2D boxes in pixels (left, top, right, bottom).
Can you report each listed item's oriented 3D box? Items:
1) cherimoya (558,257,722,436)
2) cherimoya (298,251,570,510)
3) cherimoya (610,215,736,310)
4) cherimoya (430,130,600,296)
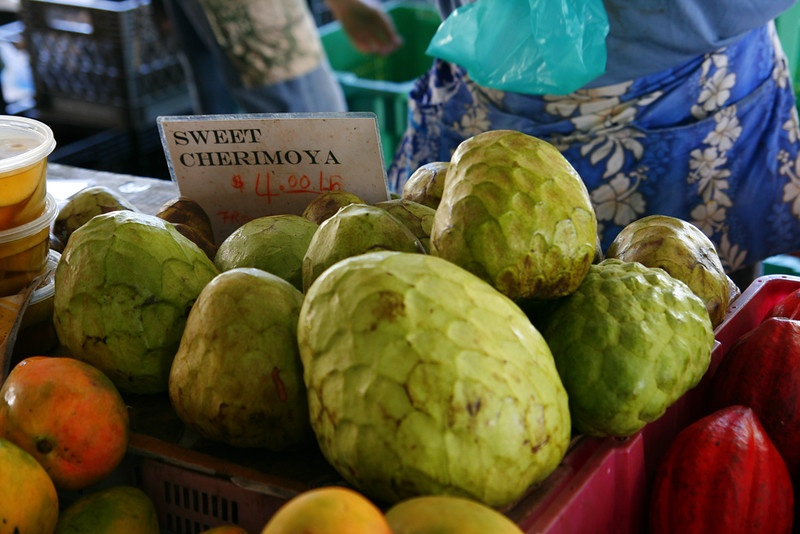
[{"bbox_3d":[0.404,0.141,1.355,0.293,0.267,0.238,-31,-18,22],"label":"cherimoya"},{"bbox_3d":[0.019,0.149,1.269,0.332,0.358,0.448,-15,30,-25],"label":"cherimoya"},{"bbox_3d":[0.572,-0.014,1.511,0.227,0.173,0.180,37,13,14],"label":"cherimoya"},{"bbox_3d":[0.198,-0.076,1.376,0.240,0.232,0.308,-42,76,-8],"label":"cherimoya"}]
